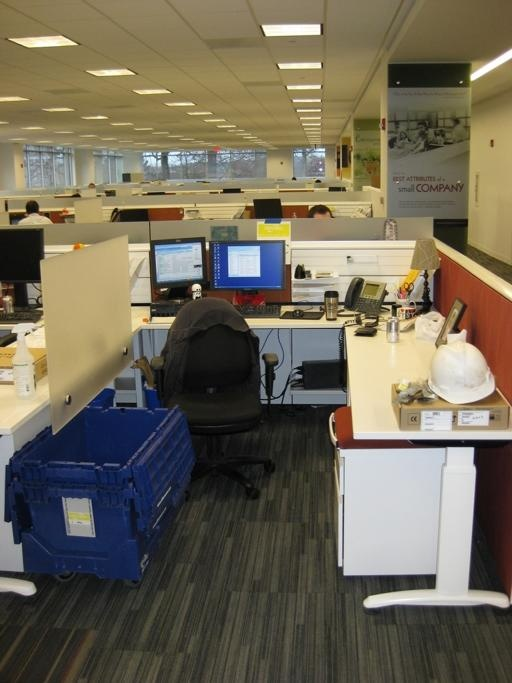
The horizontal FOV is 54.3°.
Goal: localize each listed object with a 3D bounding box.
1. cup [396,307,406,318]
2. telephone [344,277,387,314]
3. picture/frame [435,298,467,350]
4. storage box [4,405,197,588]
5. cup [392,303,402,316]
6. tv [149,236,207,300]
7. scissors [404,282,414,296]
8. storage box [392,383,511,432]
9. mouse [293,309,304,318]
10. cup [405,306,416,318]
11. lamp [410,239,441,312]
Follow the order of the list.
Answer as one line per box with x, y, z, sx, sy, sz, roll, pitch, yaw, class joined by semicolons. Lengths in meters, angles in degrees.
0.883;-0.172;3.042;0.055;0.063;0.056;1;11;0;cup
0.726;-0.316;3.374;0.303;0.315;0.229;10;17;40;telephone
0.902;-0.078;2.298;0.025;0.234;0.229;22;-24;4;picture/frame
-0.515;0.501;1.830;0.562;0.439;0.645;1;10;3;storage box
0.903;-0.198;3.188;0.056;0.106;0.058;-4;23;2;cup
-0.533;-0.468;3.450;0.389;0.422;0.144;-5;-15;-13;tv
0.997;-0.339;3.226;0.047;0.079;0.013;7;-18;-31;scissors
0.571;0.186;1.480;0.305;0.104;0.255;-1;6;9;storage box
0.276;-0.179;3.240;0.043;0.022;0.059;1;28;5;mouse
0.956;-0.183;3.075;0.073;0.073;0.066;9;34;29;cup
1.099;-0.424;3.216;0.161;0.441;0.379;0;6;21;lamp
